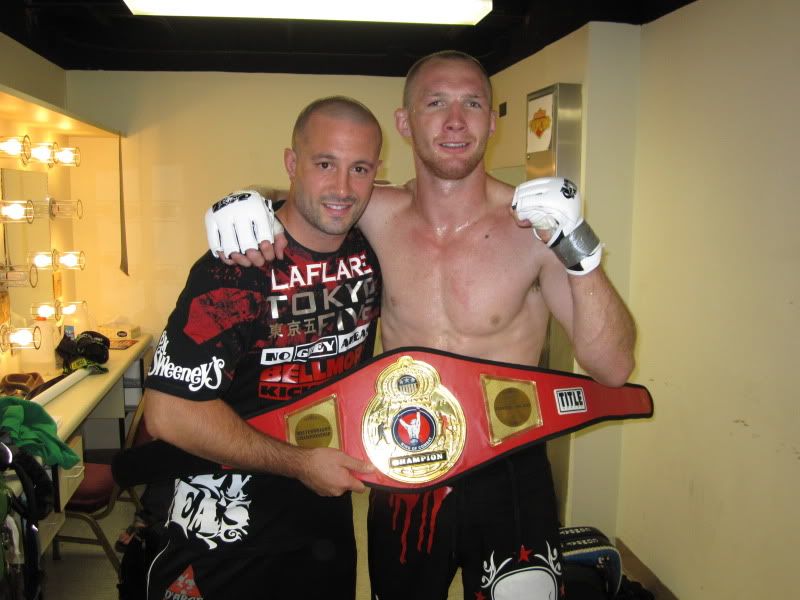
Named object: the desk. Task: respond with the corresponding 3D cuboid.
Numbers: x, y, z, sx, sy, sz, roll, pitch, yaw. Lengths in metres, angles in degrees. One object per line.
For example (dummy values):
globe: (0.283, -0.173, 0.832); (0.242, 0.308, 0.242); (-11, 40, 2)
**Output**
desk: (-1.687, 0.997, 3.558); (0.527, 0.877, 0.526); (6, 10, 8)
